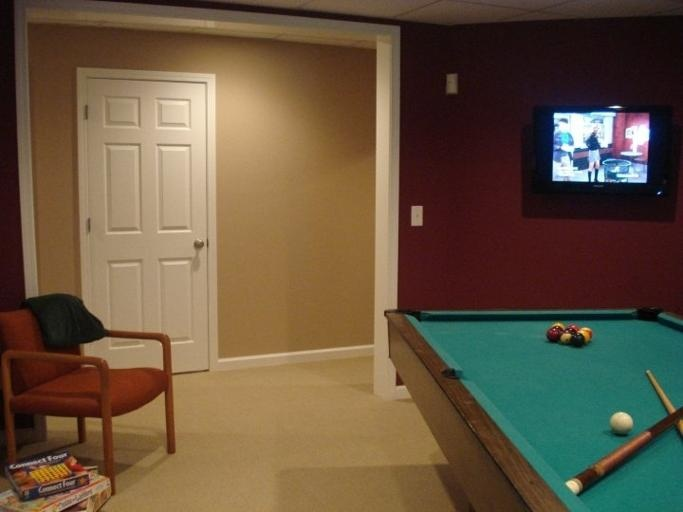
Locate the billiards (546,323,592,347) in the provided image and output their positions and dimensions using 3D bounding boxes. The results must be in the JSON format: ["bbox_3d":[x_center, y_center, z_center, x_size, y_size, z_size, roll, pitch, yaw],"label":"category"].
[{"bbox_3d":[1.174,0.405,2.905,0.132,0.057,0.139,0,6,19],"label":"billiards"}]
